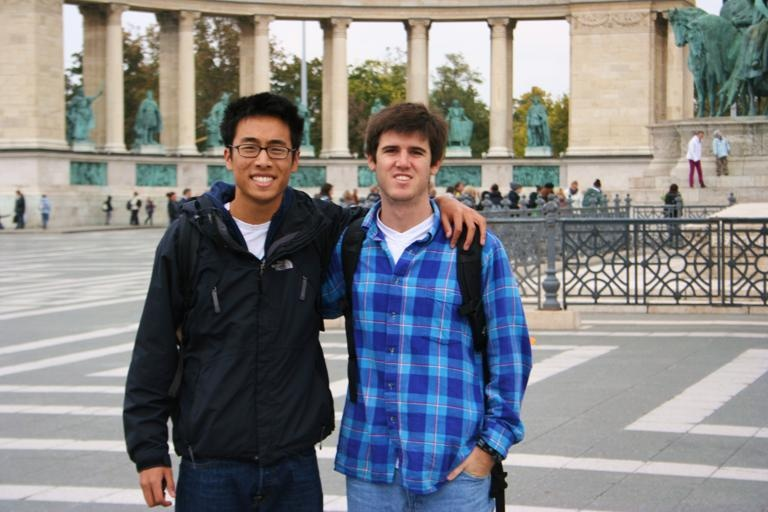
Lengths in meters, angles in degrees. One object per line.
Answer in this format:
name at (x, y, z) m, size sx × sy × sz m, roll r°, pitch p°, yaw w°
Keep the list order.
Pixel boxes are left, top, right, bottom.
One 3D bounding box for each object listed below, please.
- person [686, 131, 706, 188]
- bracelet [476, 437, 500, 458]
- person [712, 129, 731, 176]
person at (14.391, -4.356, 49.278) m, size 0.799 × 2.538 × 0.937 m, roll 1°, pitch 14°, yaw 6°
bracelet at (1.505, 2.708, 15.032) m, size 0.286 × 0.104 × 0.242 m, roll 34°, pitch 0°, yaw 3°
person at (15.420, -4.659, 49.024) m, size 0.747 × 2.066 × 1.245 m, roll 4°, pitch 14°, yaw 18°
